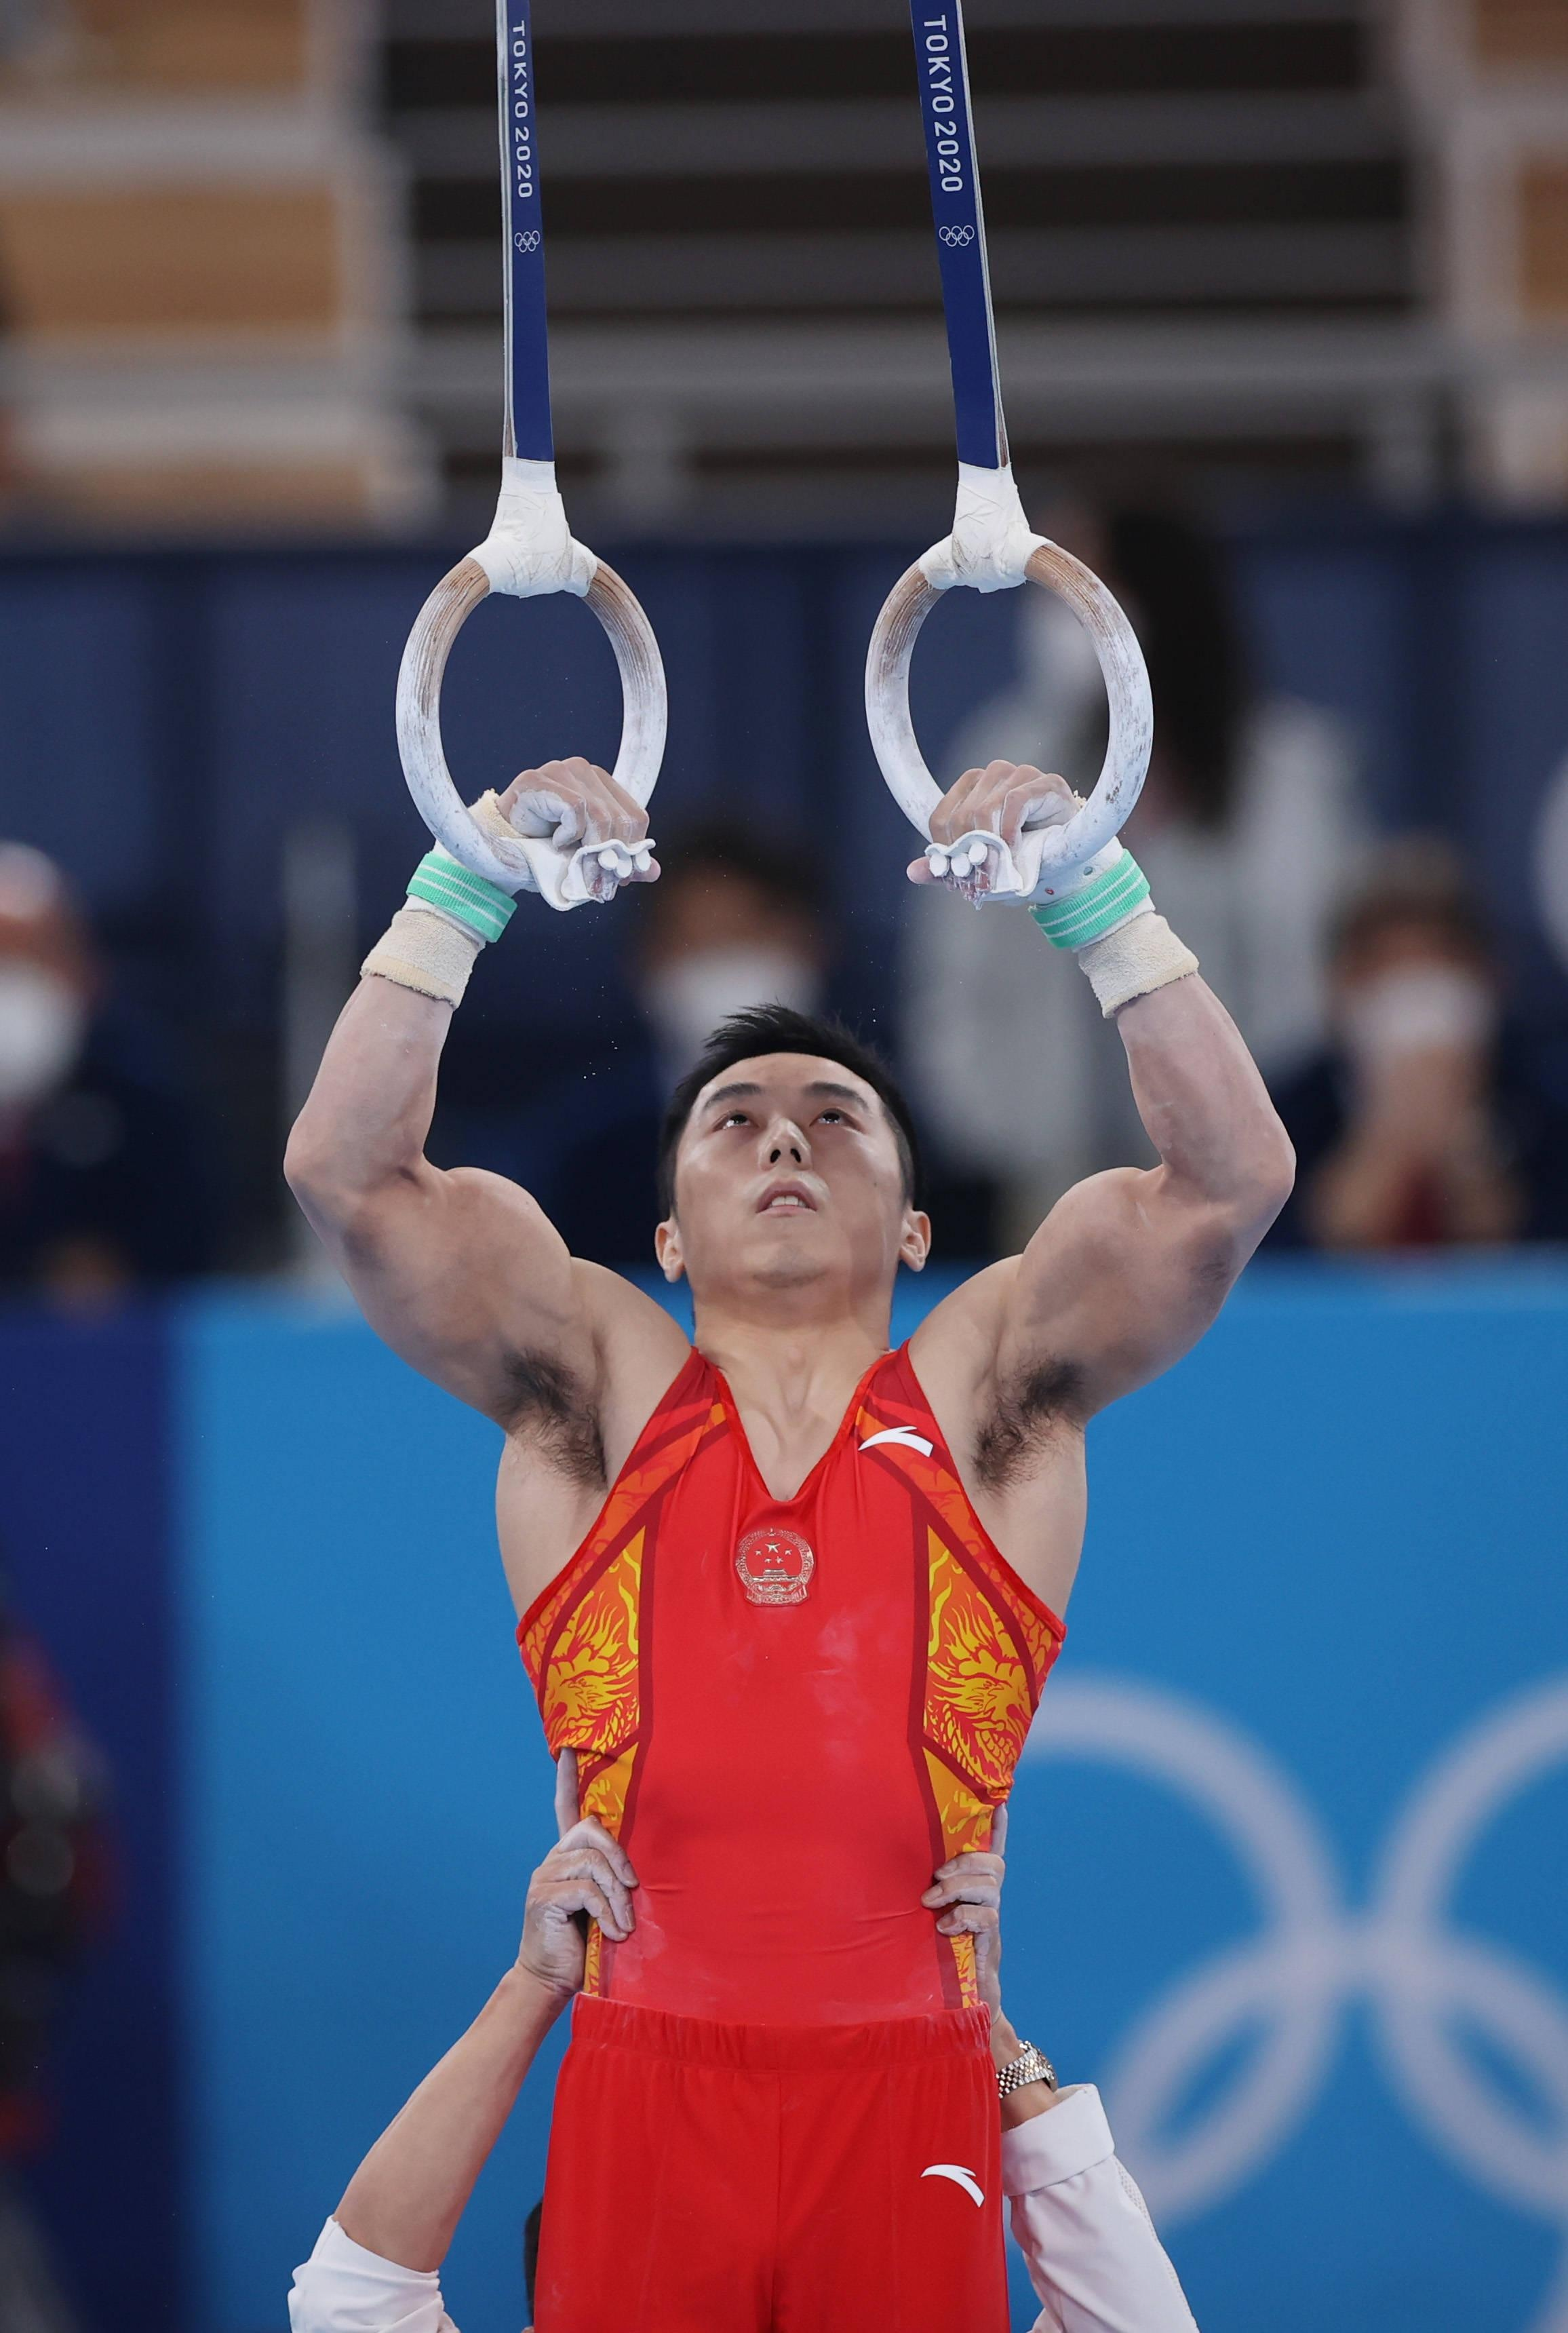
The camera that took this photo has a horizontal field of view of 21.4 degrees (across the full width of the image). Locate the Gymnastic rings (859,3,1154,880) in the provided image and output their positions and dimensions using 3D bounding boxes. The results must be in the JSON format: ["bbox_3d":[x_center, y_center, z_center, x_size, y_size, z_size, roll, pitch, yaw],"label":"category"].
[{"bbox_3d":[0.212,-0.758,4.466,0.421,0.470,0.885,-2,106,-5],"label":"Gymnastic rings"}]

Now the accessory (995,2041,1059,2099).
[{"bbox_3d":[0.260,1.011,4.645,0.079,0.082,0.050,-27,79,-12],"label":"accessory"}]
